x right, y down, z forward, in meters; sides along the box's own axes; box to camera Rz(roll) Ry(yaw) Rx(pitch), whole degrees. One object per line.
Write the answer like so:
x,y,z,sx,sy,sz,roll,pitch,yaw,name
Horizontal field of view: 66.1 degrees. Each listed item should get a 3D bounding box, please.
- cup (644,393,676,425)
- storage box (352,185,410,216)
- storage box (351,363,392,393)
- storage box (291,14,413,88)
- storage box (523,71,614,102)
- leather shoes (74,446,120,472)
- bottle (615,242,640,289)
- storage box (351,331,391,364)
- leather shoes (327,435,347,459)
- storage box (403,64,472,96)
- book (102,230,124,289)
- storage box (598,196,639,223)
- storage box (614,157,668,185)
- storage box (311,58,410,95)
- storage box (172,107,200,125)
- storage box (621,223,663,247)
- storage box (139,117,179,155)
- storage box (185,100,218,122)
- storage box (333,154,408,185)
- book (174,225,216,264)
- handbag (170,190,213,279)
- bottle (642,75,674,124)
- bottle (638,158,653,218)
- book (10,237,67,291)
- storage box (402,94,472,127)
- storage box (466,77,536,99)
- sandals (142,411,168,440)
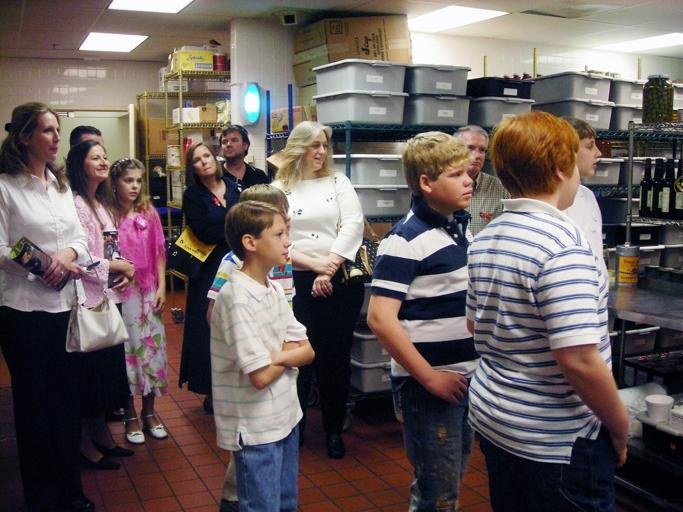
1.575,0.750,2.605,0.119,0.085,0.120,-1,-1,0,cup
0.316,-0.410,3.947,0.296,0.166,0.280,-2,8,-13,storage box
0.240,0.872,3.800,0.342,0.169,0.333,7,-21,-37,storage box
0.171,-2.152,5.528,1.155,0.556,1.108,1,4,22,storage box
1.950,-1.408,4.603,0.388,0.161,0.476,-1,3,-31,storage box
-1.408,1.218,3.124,0.338,0.120,0.117,7,3,-4,leather shoes
1.755,0.072,3.257,0.154,0.240,0.144,1,2,0,bottle
0.209,0.643,3.721,0.249,0.139,0.233,0,1,-15,storage box
-0.026,1.179,3.218,0.069,0.064,0.168,0,2,-6,leather shoes
0.756,-1.362,4.107,0.396,0.138,0.283,-2,8,-17,storage box
-1.377,0.020,3.162,0.026,0.354,0.158,-6,-1,17,book
2.251,-0.383,4.338,0.340,0.189,0.325,-1,6,0,storage box
2.541,-0.752,4.544,0.454,0.193,0.350,0,2,26,storage box
0.136,-1.341,3.952,0.694,0.255,0.374,-3,10,6,storage box
-1.839,-1.651,6.264,0.340,0.193,0.319,-1,1,-22,storage box
2.253,-0.161,3.980,0.302,0.171,0.287,0,0,-30,storage box
-2.900,-1.815,7.841,0.727,0.479,0.707,-3,12,-35,storage box
-1.617,-1.657,6.123,0.351,0.207,0.122,-6,11,-13,storage box
0.253,-0.641,3.899,0.409,0.137,0.419,1,-1,42,storage box
-0.964,-0.085,3.543,0.251,0.251,0.085,38,15,6,book
-0.996,-0.052,3.588,0.273,0.278,0.124,27,29,9,handbag
2.125,-1.062,3.532,0.179,0.319,0.217,2,12,29,bottle
2.158,-0.497,3.761,0.113,0.411,0.098,4,5,11,bottle
-1.326,0.039,2.291,0.097,0.252,0.091,-38,39,7,book
0.890,-1.225,4.342,0.467,0.270,0.633,7,20,19,storage box
1.319,-1.388,4.346,0.340,0.095,0.281,-2,8,-16,storage box
-1.236,1.142,3.552,0.095,0.109,0.280,0,0,-40,sandals
